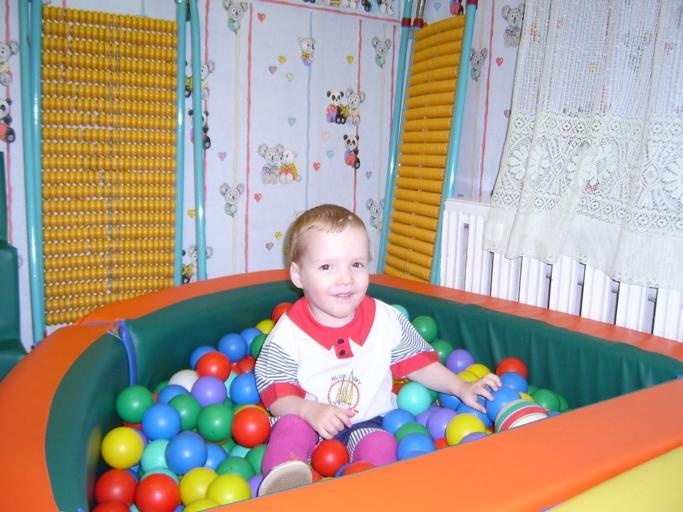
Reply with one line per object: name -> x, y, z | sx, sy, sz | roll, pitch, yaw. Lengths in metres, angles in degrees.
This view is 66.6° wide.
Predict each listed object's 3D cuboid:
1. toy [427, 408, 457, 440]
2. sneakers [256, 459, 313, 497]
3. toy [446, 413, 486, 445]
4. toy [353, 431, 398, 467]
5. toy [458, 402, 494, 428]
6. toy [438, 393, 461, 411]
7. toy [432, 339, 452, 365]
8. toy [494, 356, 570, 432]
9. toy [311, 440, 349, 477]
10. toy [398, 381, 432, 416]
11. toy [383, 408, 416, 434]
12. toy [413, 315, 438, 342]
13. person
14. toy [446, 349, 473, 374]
toy -> 0.302, 0.515, 1.623 | 0.076, 0.099, 0.081 | 18, -3, 7
sneakers -> -0.133, 0.525, 1.239 | 0.125, 0.050, 0.081 | -4, -46, -14
toy -> 0.344, 0.514, 1.519 | 0.070, 0.090, 0.078 | 18, -32, -5
toy -> 0.104, 0.561, 1.484 | 0.110, 0.122, 0.142 | 9, -16, -31
toy -> 0.437, 0.498, 1.710 | 0.079, 0.084, 0.110 | 6, -84, -8
toy -> 0.372, 0.494, 1.796 | 0.050, 0.065, 0.051 | -27, -16, 27
toy -> 0.388, 0.365, 2.000 | 0.077, 0.103, 0.077 | 1, -1, -37
toy -> 0.565, 0.378, 1.601 | 0.217, 0.230, 0.084 | 0, -80, -13
toy -> -0.039, 0.568, 1.465 | 0.090, 0.121, 0.093 | 3, -5, -42
toy -> 0.238, 0.472, 1.763 | 0.094, 0.092, 0.121 | -26, -52, -49
toy -> 0.184, 0.509, 1.611 | 0.065, 0.085, 0.073 | 0, -31, -6
toy -> 0.328, 0.279, 2.030 | 0.086, 0.092, 0.117 | 1, -81, 23
person -> -0.020, 0.279, 1.718 | 0.798, 0.690, 0.915 | -3, -82, -20
toy -> 0.429, 0.384, 1.952 | 0.074, 0.079, 0.099 | 7, -78, -10
